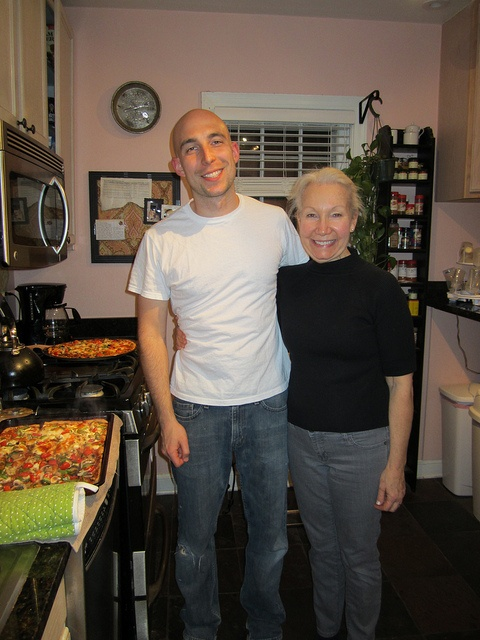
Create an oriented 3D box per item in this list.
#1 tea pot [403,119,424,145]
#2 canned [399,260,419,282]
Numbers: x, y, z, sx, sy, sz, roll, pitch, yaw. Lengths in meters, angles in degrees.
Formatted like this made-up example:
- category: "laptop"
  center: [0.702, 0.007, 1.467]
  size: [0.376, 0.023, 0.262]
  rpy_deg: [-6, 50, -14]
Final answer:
- category: "tea pot"
  center: [0.945, -1.004, 2.722]
  size: [0.114, 0.114, 0.090]
  rpy_deg: [-1, 6, 0]
- category: "canned"
  center: [0.952, -0.279, 2.826]
  size: [0.107, 0.126, 0.112]
  rpy_deg: [1, 3, 17]
